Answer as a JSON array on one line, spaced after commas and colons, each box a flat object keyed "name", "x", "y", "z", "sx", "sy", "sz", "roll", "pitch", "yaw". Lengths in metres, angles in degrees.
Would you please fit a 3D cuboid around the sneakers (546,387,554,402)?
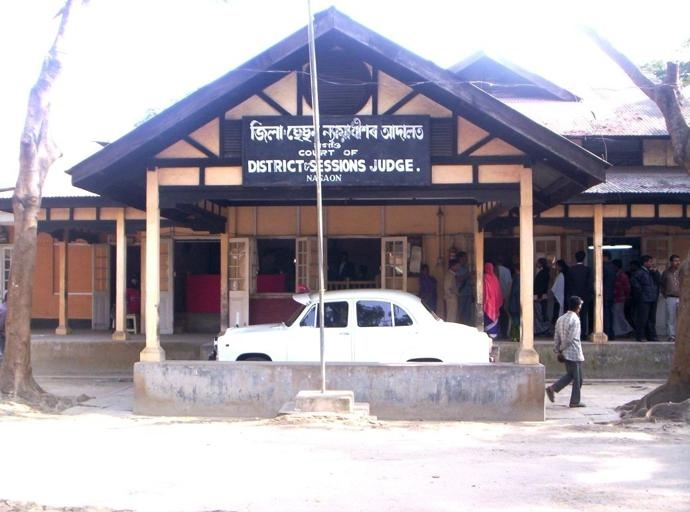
[{"name": "sneakers", "x": 3.906, "y": 2.688, "z": 19.748, "sx": 0.137, "sy": 0.349, "sz": 0.117, "roll": -16, "pitch": 7, "yaw": 12}]

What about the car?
[{"name": "car", "x": 0.254, "y": 1.333, "z": 19.308, "sx": 4.817, "sy": 1.249, "sz": 0.780, "roll": 1, "pitch": 13, "yaw": 3}]

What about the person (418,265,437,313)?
[{"name": "person", "x": 2.007, "y": 0.804, "z": 24.946, "sx": 0.481, "sy": 0.388, "sz": 1.656, "roll": 14, "pitch": -39, "yaw": 17}]

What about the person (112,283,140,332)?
[{"name": "person", "x": -5.376, "y": 1.399, "z": 25.612, "sx": 0.559, "sy": 1.119, "sz": 0.652, "roll": 5, "pitch": -6, "yaw": -23}]

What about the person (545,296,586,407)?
[{"name": "person", "x": 4.260, "y": 1.882, "z": 19.831, "sx": 0.733, "sy": 2.119, "sz": 0.754, "roll": 1, "pitch": 13, "yaw": 5}]

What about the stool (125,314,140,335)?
[{"name": "stool", "x": -5.243, "y": 1.691, "z": 25.730, "sx": 0.423, "sy": 0.637, "sz": 0.469, "roll": -1, "pitch": -8, "yaw": -2}]

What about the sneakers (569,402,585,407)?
[{"name": "sneakers", "x": 4.449, "y": 2.874, "z": 19.905, "sx": 0.289, "sy": 0.127, "sz": 0.107, "roll": -2, "pitch": -1, "yaw": -2}]
